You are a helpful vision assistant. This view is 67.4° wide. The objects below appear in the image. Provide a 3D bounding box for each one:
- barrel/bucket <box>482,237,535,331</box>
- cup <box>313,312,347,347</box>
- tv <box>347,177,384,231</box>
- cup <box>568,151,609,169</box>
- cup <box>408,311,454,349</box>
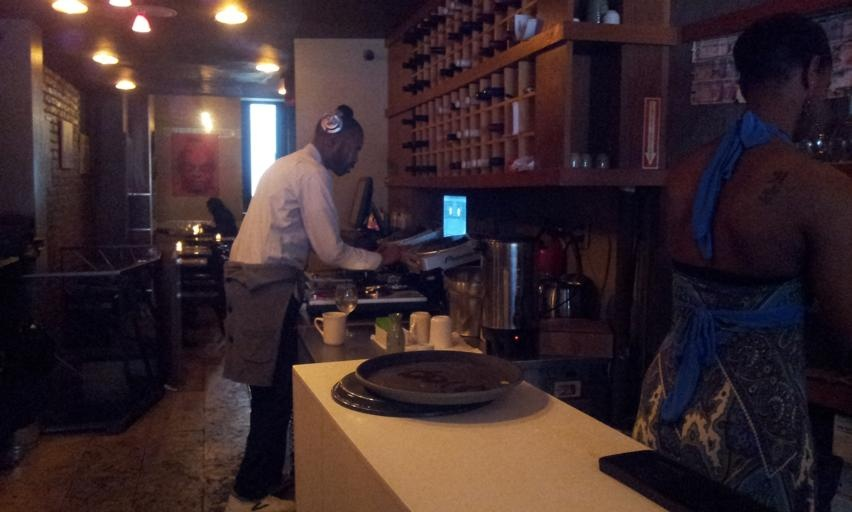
[{"bbox_3d":[0.392,0.136,3.090,0.264,0.447,0.104,-3,5,5],"label":"barrel/bucket"},{"bbox_3d":[-0.499,0.379,3.357,0.210,0.166,0.130,-1,0,15],"label":"cup"},{"bbox_3d":[-0.538,-0.473,5.727,0.253,0.476,0.512,4,2,-15],"label":"tv"},{"bbox_3d":[0.775,-0.452,3.036,0.240,0.080,0.098,-5,5,-32],"label":"cup"},{"bbox_3d":[0.003,0.374,3.169,0.164,0.165,0.260,-7,6,-42],"label":"cup"}]
